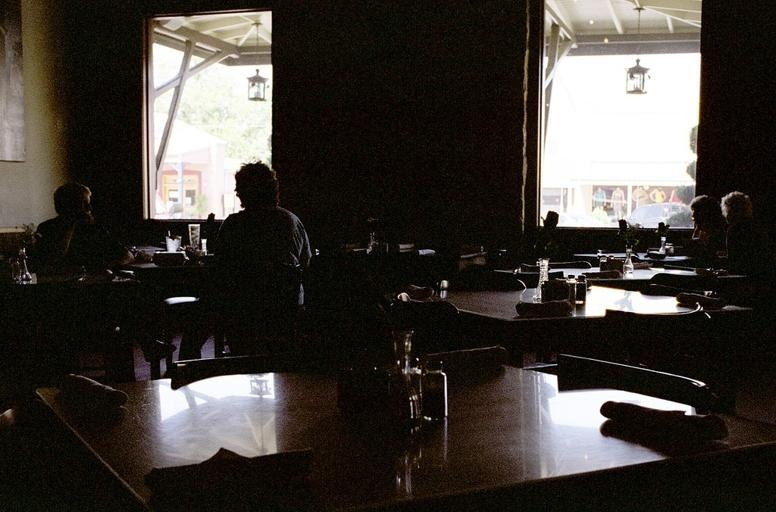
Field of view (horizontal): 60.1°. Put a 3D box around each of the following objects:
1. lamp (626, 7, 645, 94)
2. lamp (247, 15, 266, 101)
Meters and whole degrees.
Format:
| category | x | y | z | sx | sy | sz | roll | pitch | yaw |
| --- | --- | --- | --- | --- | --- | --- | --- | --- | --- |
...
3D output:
| category | x | y | z | sx | sy | sz | roll | pitch | yaw |
| --- | --- | --- | --- | --- | --- | --- | --- | --- | --- |
| lamp | 2.703 | -2.220 | 7.212 | 0.214 | 0.936 | 0.293 | 4 | 13 | 18 |
| lamp | -1.477 | -2.229 | 7.639 | 0.243 | 0.903 | 0.262 | 2 | 12 | 11 |
